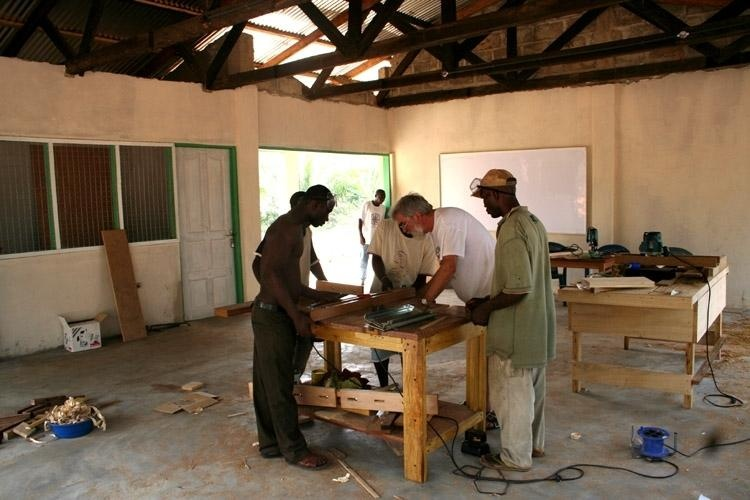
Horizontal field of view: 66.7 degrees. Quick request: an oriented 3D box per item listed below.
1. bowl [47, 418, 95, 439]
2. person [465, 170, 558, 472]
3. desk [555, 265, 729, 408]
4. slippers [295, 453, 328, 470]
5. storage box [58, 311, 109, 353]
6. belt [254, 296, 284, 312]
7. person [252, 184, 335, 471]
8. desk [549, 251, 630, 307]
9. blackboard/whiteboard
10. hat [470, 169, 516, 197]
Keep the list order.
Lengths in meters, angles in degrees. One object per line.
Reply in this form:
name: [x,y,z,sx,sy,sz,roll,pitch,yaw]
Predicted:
bowl: [-3.032,1.749,5.672,0.243,0.087,0.241,-1,4,0]
person: [1.198,0.618,4.997,0.717,2.640,0.430,-3,8,6]
desk: [3.227,1.026,6.871,1.555,1.106,2.381,1,0,42]
slippers: [-0.577,1.895,5.117,0.243,0.087,0.139,-2,2,12]
storage box: [-4.062,1.142,7.973,0.569,0.476,0.416,-8,9,-30]
belt: [-0.959,0.495,5.044,0.265,0.143,0.082,-1,9,23]
person: [-0.773,0.686,5.183,0.763,2.495,0.697,-9,9,-29]
desk: [3.147,0.197,8.450,1.170,1.083,1.178,0,1,23]
blackboard/whiteboard: [2.639,-1.249,10.566,3.260,1.841,0.070,5,-7,-21]
hat: [0.999,-0.586,5.090,0.418,0.218,0.260,14,22,28]
